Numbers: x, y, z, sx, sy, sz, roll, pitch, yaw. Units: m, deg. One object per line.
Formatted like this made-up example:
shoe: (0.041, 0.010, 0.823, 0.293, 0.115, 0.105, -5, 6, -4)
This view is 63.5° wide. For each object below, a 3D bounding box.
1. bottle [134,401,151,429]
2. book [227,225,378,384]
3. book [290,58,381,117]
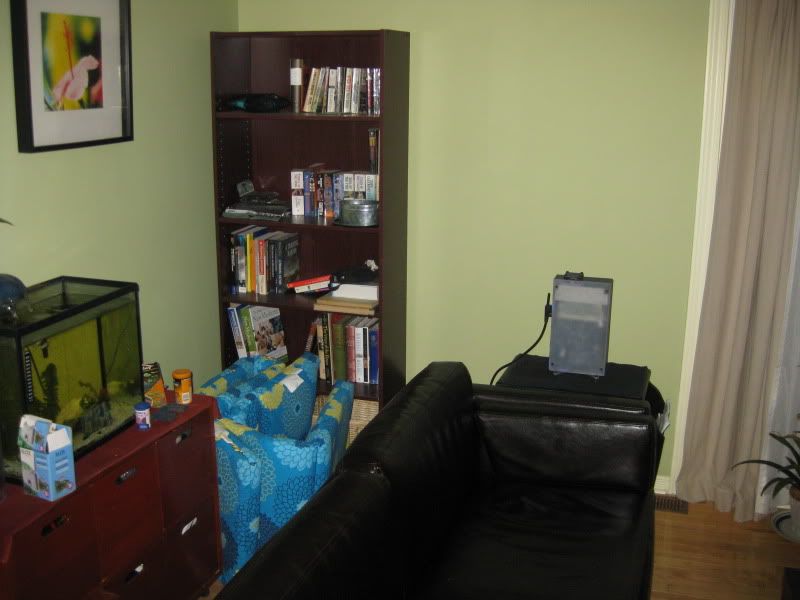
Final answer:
bottle: (-0.946, 0.422, 2.371, 0.073, 0.118, 0.073, 2, 9, 0)
book: (-0.541, 0.003, 3.625, 0.787, 0.794, 0.271, 2, 9, 9)
book: (-0.311, -1.104, 3.402, 0.499, 0.288, 0.251, 1, -5, 9)
